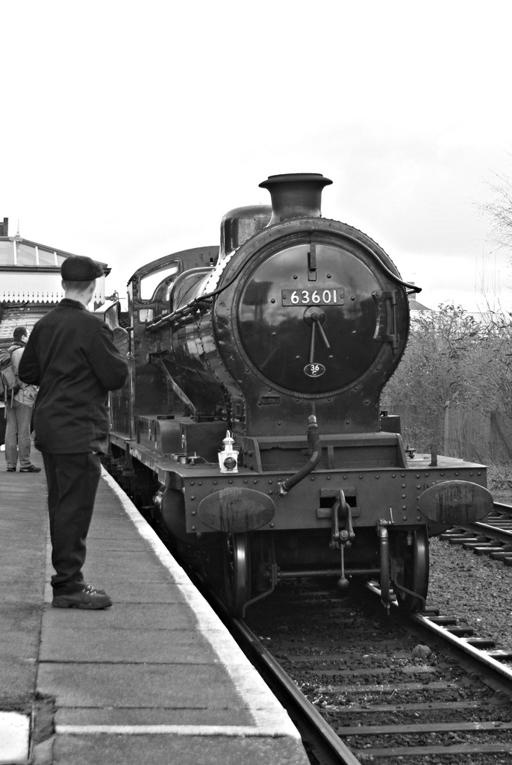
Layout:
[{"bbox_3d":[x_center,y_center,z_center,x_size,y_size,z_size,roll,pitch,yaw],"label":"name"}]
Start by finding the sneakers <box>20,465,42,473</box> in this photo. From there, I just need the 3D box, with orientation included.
[{"bbox_3d":[-3.210,1.207,11.749,0.305,0.106,0.117,0,3,-4],"label":"sneakers"}]

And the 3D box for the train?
[{"bbox_3d":[0.100,0.081,7.064,2.115,3.351,3.441,0,-1,-16],"label":"train"}]

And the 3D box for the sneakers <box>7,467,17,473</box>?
[{"bbox_3d":[-3.483,1.216,11.714,0.056,0.061,0.158,1,-8,-8],"label":"sneakers"}]

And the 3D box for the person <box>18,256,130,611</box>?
[{"bbox_3d":[-0.941,0.229,4.218,0.566,1.780,0.359,0,-1,2],"label":"person"}]

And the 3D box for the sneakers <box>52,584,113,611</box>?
[{"bbox_3d":[-0.868,1.074,4.198,0.364,0.142,0.111,1,-3,-5],"label":"sneakers"}]
